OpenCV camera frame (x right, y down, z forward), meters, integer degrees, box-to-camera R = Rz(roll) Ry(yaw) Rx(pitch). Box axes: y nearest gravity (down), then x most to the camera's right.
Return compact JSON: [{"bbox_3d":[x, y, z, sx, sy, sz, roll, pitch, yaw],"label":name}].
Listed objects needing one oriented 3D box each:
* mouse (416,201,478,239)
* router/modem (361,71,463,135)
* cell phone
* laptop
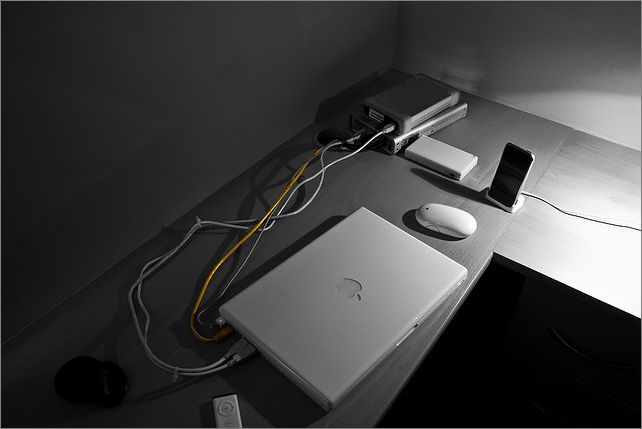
[{"bbox_3d":[0.377,0.013,1.355,0.156,0.093,0.048,20,-44,19],"label":"mouse"},{"bbox_3d":[0.334,-0.419,1.681,0.238,0.355,0.077,34,-36,31],"label":"router/modem"},{"bbox_3d":[0.592,-0.119,1.409,0.112,0.094,0.197,37,-30,36],"label":"cell phone"},{"bbox_3d":[0.065,0.200,1.202,0.416,0.541,0.310,38,10,20],"label":"laptop"}]
